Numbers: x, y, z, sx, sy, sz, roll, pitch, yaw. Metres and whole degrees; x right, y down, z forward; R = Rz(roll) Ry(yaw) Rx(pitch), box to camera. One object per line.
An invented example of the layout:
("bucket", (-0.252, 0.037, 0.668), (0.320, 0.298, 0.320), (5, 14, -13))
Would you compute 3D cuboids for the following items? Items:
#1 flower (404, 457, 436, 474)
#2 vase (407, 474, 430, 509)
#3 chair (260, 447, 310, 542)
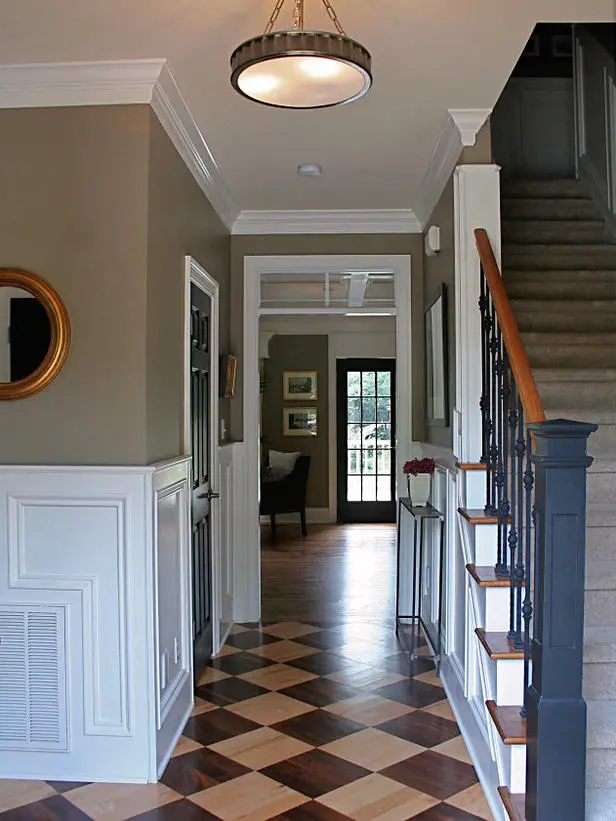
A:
("flower", (0.624, 0.315, 3.846), (0.167, 0.097, 0.181), (0, -2, 14))
("vase", (0.622, 0.450, 3.856), (0.144, 0.243, 0.162), (1, -2, -5))
("chair", (-0.159, 0.956, 7.974), (0.717, 1.136, 0.728), (1, -6, -13))
